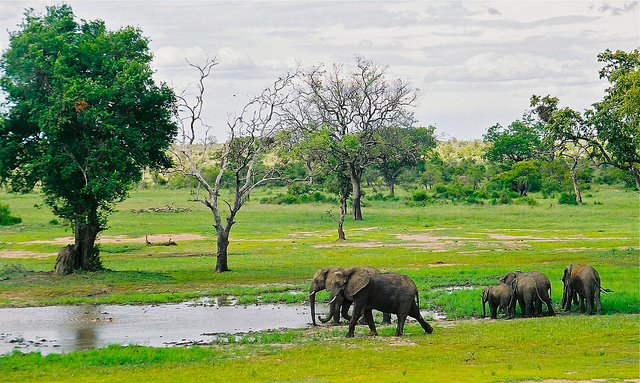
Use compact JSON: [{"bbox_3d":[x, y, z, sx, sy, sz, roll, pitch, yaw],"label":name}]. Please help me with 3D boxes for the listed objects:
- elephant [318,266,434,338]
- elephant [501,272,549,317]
[{"bbox_3d":[3.908,8.037,72.167,8.444,4.548,3.872,0,-12,22],"label":"elephant"},{"bbox_3d":[14.635,7.724,75.648,2.587,2.885,5.273,4,-5,-15],"label":"elephant"}]
